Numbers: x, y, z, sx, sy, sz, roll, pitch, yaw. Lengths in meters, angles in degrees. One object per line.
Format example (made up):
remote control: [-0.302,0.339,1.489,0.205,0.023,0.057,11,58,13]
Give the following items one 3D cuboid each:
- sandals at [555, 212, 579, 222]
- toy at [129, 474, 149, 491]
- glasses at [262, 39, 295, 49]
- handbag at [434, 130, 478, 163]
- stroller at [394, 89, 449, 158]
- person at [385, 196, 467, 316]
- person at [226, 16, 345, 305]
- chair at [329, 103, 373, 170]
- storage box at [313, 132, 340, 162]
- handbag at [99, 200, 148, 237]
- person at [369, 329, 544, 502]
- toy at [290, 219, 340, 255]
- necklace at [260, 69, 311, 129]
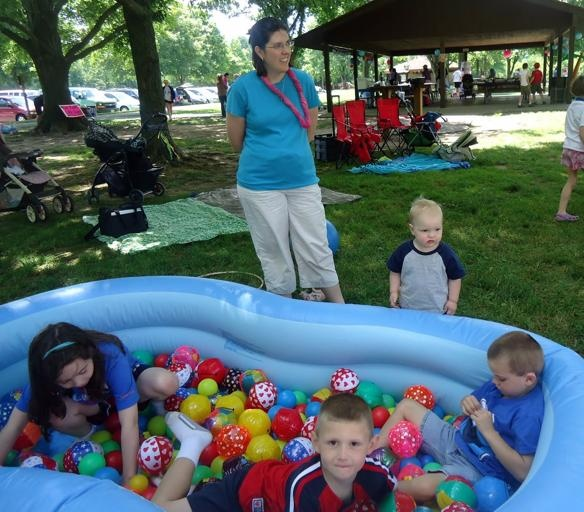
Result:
sandals: [3.064,-0.438,4.777,0.187,0.065,0.098,0,13,17]
toy: [-0.745,1.118,2.118,0.068,0.075,0.062,-3,55,12]
glasses: [-0.056,-1.295,2.622,0.079,0.050,0.228,15,26,42]
handbag: [3.168,-2.105,8.246,0.764,0.508,0.932,15,27,42]
stroller: [2.817,-2.870,9.306,1.169,1.199,0.778,-3,18,2]
person: [0.807,0.031,2.662,0.356,0.743,0.440,-18,25,-31]
person: [-0.058,-0.554,2.924,0.676,1.912,0.347,-8,21,-7]
chair: [1.272,-2.436,8.631,0.911,1.127,0.801,4,24,16]
storage box: [0.645,-2.232,8.960,0.562,0.645,0.939,8,21,24]
handbag: [-2.212,-0.464,5.510,0.352,0.368,0.597,2,15,26]
person: [0.595,0.634,1.984,0.933,0.651,0.619,-2,26,4]
toy: [0.278,-0.157,4.293,0.322,0.343,0.297,-14,33,-1]
necklace: [-0.047,-1.006,2.846,0.246,0.381,0.080,-31,15,-24]
